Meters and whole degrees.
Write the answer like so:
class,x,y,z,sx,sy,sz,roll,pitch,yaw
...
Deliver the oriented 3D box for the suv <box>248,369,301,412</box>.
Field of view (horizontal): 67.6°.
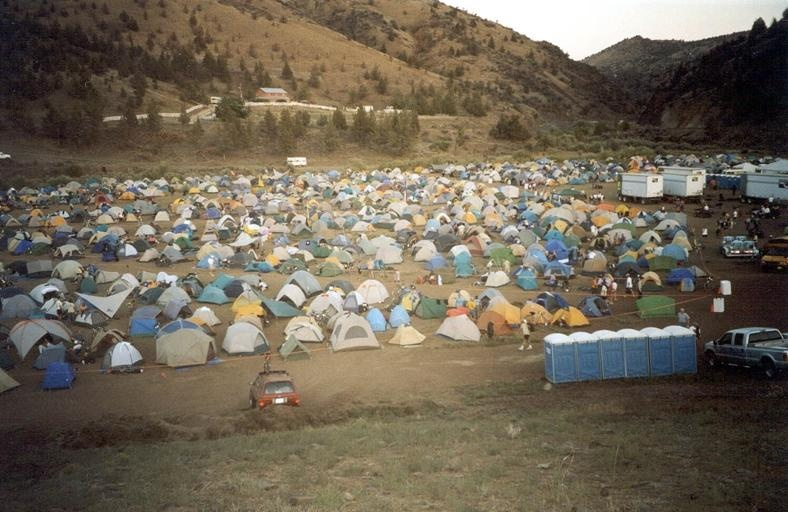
class,x,y,z,sx,sy,sz,roll,pitch,yaw
suv,-4.628,4.983,22.578,1.603,1.261,2.557,0,6,-21
